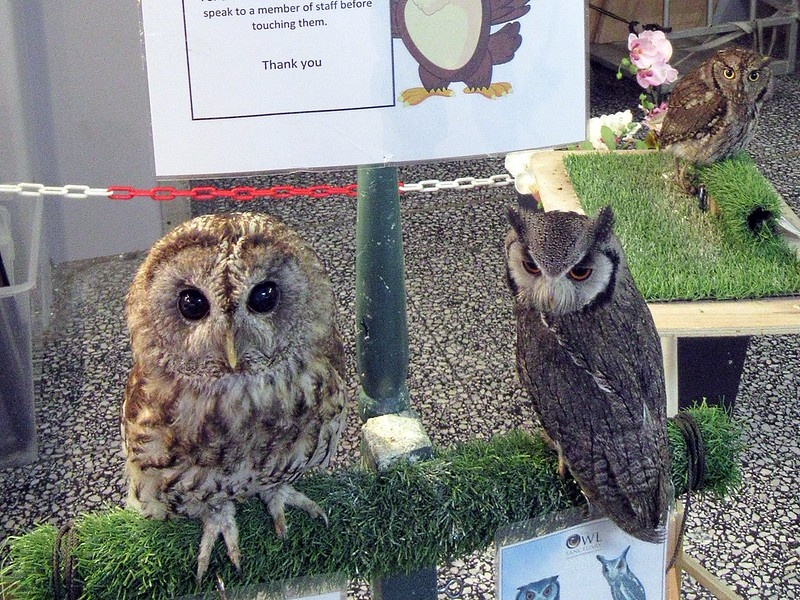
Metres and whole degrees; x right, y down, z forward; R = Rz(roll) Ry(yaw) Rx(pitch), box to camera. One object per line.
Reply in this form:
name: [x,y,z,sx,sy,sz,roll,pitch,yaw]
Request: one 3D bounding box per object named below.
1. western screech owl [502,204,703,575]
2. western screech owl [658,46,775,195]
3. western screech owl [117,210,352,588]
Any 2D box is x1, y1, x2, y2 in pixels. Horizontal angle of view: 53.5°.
western screech owl: [0.284,0.110,1.204,0.254,0.471,0.206,1,24,7]
western screech owl: [0.874,-0.517,2.225,0.232,0.409,0.313,-7,26,-8]
western screech owl: [-0.272,0.108,1.317,0.362,0.543,0.462,-7,22,-14]
